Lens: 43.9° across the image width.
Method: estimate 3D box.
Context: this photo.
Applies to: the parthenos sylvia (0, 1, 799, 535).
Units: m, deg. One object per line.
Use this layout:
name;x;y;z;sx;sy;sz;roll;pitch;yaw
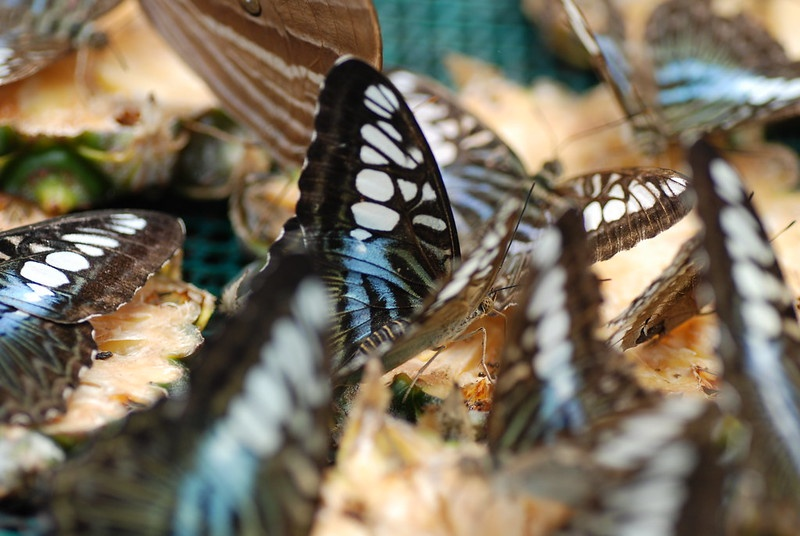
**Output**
parthenos sylvia;0.034;0.036;0.819;0.347;0.231;0.377;-17;5;-23
